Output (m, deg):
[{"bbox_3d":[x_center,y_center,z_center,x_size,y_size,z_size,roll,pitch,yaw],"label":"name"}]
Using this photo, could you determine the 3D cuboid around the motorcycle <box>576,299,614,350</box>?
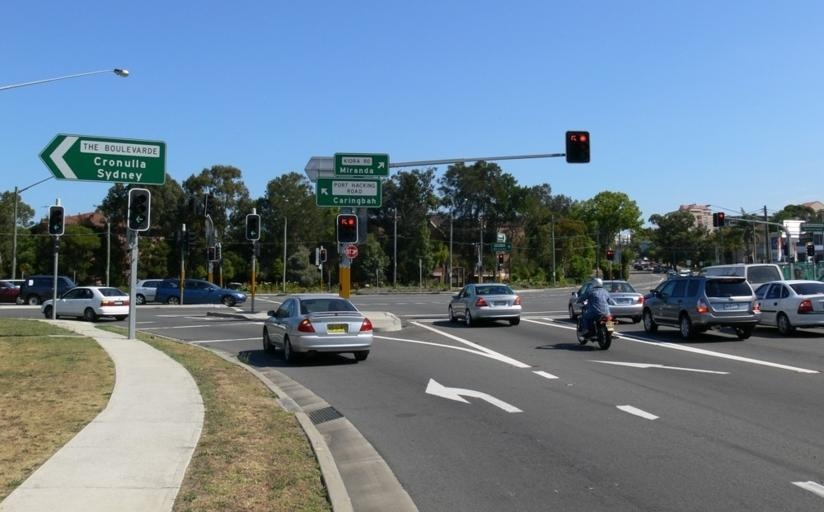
[{"bbox_3d":[5.512,2.177,23.791,0.833,1.339,1.352,-1,-4,-5],"label":"motorcycle"}]

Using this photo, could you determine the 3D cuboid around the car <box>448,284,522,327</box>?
[{"bbox_3d":[2.861,1.977,31.771,2.578,1.748,4.300,-1,-5,-1],"label":"car"}]

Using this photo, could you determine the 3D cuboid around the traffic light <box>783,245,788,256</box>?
[{"bbox_3d":[24.452,-0.351,51.372,0.258,0.692,1.090,-3,-5,27],"label":"traffic light"}]

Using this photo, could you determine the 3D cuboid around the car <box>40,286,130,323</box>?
[{"bbox_3d":[-14.395,2.200,34.563,3.164,1.077,1.483,3,0,27],"label":"car"}]

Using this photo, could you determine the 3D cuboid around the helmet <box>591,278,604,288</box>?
[{"bbox_3d":[6.001,0.898,25.540,0.311,0.360,0.375,3,8,6],"label":"helmet"}]

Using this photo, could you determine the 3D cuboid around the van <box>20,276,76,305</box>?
[{"bbox_3d":[-19.958,1.936,42.767,3.133,1.434,1.447,-3,2,-7],"label":"van"}]

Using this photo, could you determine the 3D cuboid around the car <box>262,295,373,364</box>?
[{"bbox_3d":[-2.786,2.010,21.977,3.073,1.890,1.759,-5,-6,44],"label":"car"}]

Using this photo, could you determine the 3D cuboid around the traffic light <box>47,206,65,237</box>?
[{"bbox_3d":[-13.351,-1.382,29.351,0.448,1.137,0.858,1,-4,-29],"label":"traffic light"}]

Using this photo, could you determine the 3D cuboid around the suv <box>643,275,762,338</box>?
[{"bbox_3d":[9.296,1.595,26.032,1.751,1.433,3.615,0,2,-11],"label":"suv"}]

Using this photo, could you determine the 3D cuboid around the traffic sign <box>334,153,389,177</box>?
[{"bbox_3d":[-1.995,-3.442,30.296,2.083,1.012,0.926,-1,-4,-6],"label":"traffic sign"}]

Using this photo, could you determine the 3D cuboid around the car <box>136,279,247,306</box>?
[{"bbox_3d":[-13.697,2.256,47.416,7.490,1.801,2.010,-4,-5,27],"label":"car"}]

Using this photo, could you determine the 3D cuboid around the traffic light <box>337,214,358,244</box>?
[{"bbox_3d":[-2.446,-1.036,29.200,0.794,1.068,0.900,-1,-4,-6],"label":"traffic light"}]

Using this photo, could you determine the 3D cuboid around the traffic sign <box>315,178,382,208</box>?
[{"bbox_3d":[-2.511,-2.445,30.417,2.420,1.122,0.732,-1,-4,4],"label":"traffic sign"}]

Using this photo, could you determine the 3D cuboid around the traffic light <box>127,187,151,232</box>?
[{"bbox_3d":[-8.447,-1.423,24.110,0.633,1.344,1.031,0,-4,-22],"label":"traffic light"}]

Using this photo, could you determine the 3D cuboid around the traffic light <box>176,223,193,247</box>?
[{"bbox_3d":[-12.318,-1.006,42.230,0.474,0.921,1.233,-1,-4,3],"label":"traffic light"}]
